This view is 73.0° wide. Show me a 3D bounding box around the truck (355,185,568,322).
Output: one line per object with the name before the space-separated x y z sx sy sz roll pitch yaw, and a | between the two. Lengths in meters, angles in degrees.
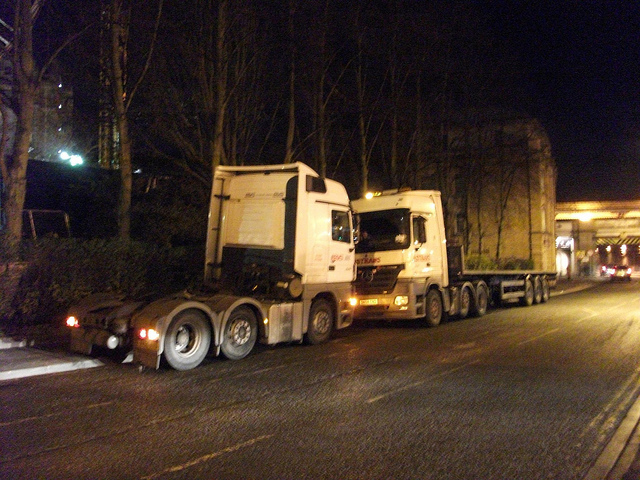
truck | 5.353 1.221 18.628 3.513 5.043 12.662 -8 -11 37

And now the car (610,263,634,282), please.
car | 33.450 3.806 48.485 2.303 1.641 1.336 3 -4 -24

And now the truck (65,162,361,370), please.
truck | -2.105 0.421 10.162 3.570 4.392 6.481 0 -2 37
